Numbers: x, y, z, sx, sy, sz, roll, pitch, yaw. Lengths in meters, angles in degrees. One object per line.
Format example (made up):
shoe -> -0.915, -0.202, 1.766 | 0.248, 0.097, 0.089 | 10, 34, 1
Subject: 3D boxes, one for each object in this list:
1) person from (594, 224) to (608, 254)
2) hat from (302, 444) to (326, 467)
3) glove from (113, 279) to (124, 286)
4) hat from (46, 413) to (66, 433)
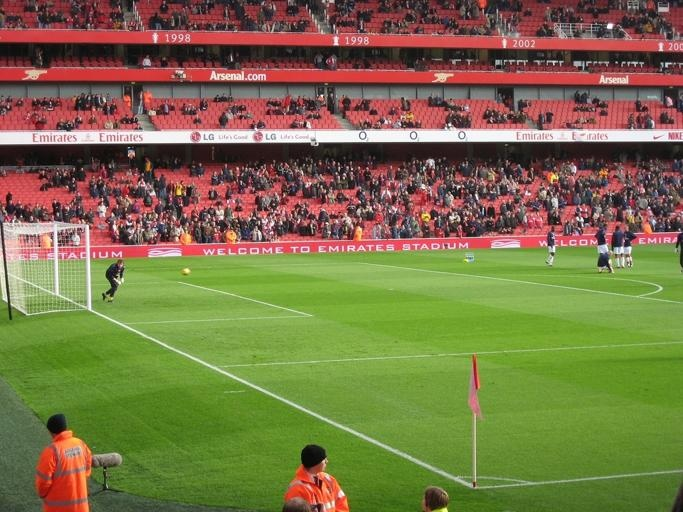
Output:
person -> 12.355, -0.727, 58.175 | 0.479, 1.268, 2.639 | 1, 2, 12
hat -> -0.699, 4.659, 29.073 | 0.555, 0.470, 0.424 | -21, 21, -29
glove -> -9.301, 1.048, 50.644 | 0.585, 0.201, 0.432 | -1, 1, -24
hat -> -7.033, 4.095, 30.207 | 0.389, 0.444, 0.519 | 3, 5, -29
